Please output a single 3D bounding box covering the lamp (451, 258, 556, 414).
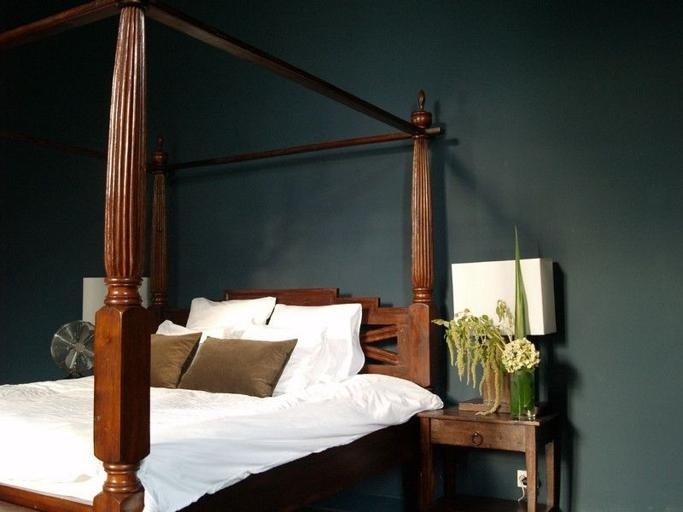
[{"bbox_3d":[0.891,0.515,4.007,0.636,0.897,0.441,-5,-18,38],"label":"lamp"}]

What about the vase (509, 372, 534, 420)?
[{"bbox_3d":[1.047,0.799,3.717,0.141,0.267,0.097,-3,-6,23],"label":"vase"}]
